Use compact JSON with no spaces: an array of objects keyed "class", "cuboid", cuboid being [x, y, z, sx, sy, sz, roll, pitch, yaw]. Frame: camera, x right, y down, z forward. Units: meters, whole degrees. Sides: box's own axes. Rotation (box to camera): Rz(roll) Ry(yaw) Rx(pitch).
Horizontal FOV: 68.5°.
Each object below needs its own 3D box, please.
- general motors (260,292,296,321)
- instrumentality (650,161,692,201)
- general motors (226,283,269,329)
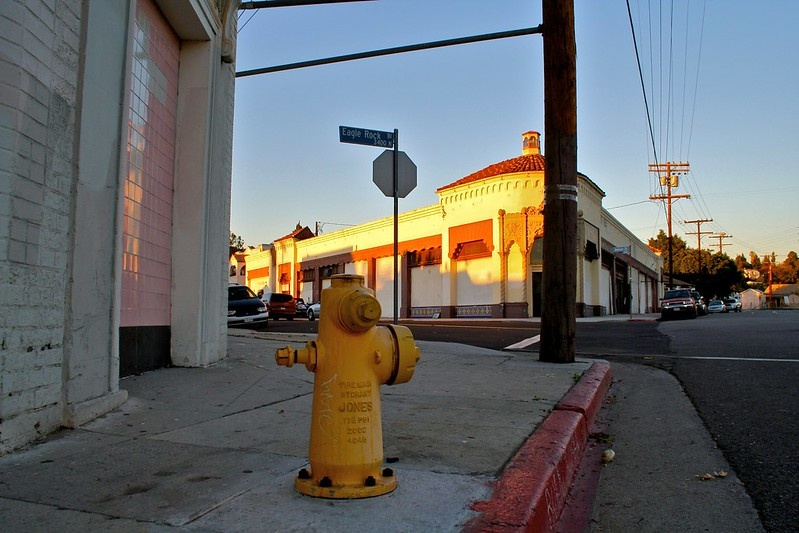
[{"class":"general motors","cuboid":[-6.166,2.105,30.442,1.097,1.006,1.875,0,2,-23]},{"class":"instrumentality","cuboid":[19.781,-6.252,42.741,2.679,3.179,0.713,9,28,44]},{"class":"general motors","cuboid":[-5.520,1.345,20.665,1.301,1.343,2.772,0,-8,-25]}]
